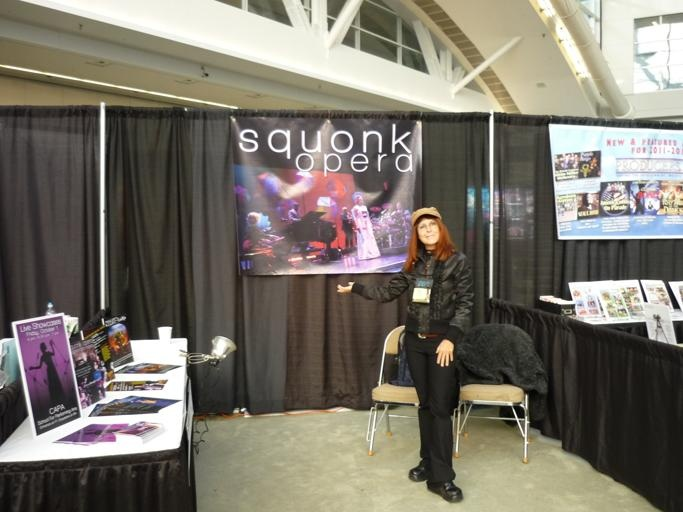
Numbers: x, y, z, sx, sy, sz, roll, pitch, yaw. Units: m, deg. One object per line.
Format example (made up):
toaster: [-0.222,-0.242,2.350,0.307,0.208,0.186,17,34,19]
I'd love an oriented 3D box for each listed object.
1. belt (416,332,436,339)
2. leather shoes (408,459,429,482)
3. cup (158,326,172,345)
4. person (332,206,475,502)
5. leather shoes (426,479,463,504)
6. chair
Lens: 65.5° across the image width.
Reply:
belt: [0.623,0.582,3.873,0.143,0.044,0.019,1,7,19]
leather shoes: [0.595,1.642,4.053,0.079,0.087,0.193,3,3,27]
cup: [-1.454,0.672,4.460,0.135,0.116,0.131,0,-11,0]
person: [0.693,0.667,4.007,0.460,2.035,0.832,-4,8,-29]
leather shoes: [0.727,1.660,3.760,0.094,0.118,0.260,2,-5,-33]
chair: [0.922,0.845,4.737,1.516,1.363,0.995,0,-9,9]
